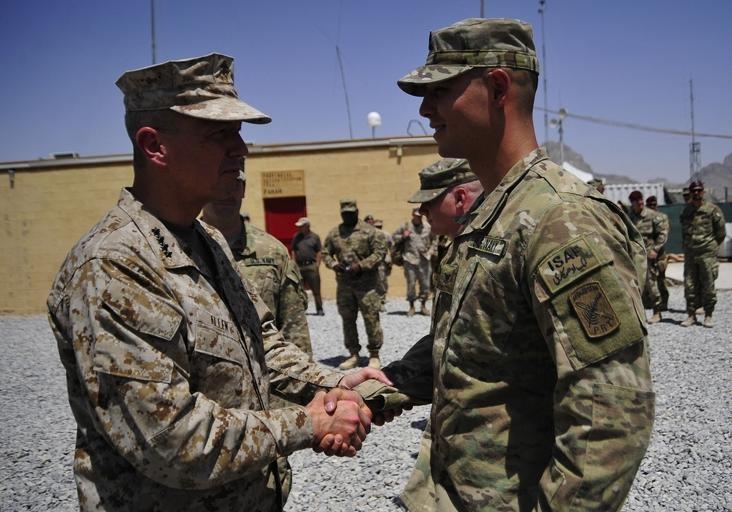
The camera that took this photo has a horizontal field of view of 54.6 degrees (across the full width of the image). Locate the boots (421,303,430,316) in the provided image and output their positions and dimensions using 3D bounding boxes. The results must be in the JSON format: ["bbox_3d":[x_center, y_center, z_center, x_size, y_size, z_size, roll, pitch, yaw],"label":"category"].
[{"bbox_3d":[1.103,0.992,13.008,0.128,0.208,0.201,-6,-10,25],"label":"boots"}]

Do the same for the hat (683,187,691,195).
[{"bbox_3d":[5.238,-1.067,11.662,0.122,0.064,0.169,2,-3,-9],"label":"hat"}]

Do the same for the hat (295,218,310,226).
[{"bbox_3d":[-1.068,-0.585,12.585,0.252,0.139,0.177,0,1,-37],"label":"hat"}]

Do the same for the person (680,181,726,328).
[{"bbox_3d":[5.129,-0.038,10.882,0.587,2.156,0.962,2,7,24],"label":"person"}]

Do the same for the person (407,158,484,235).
[{"bbox_3d":[0.661,-0.434,5.976,0.598,0.779,0.467,-10,10,4],"label":"person"}]

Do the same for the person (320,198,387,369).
[{"bbox_3d":[-0.159,0.407,9.277,0.800,2.270,0.706,-2,2,18],"label":"person"}]

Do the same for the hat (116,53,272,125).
[{"bbox_3d":[-0.989,-0.969,4.107,0.919,0.385,0.656,4,10,14],"label":"hat"}]

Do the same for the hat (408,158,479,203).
[{"bbox_3d":[0.644,-0.640,5.962,0.700,0.294,0.501,-13,2,-12],"label":"hat"}]
